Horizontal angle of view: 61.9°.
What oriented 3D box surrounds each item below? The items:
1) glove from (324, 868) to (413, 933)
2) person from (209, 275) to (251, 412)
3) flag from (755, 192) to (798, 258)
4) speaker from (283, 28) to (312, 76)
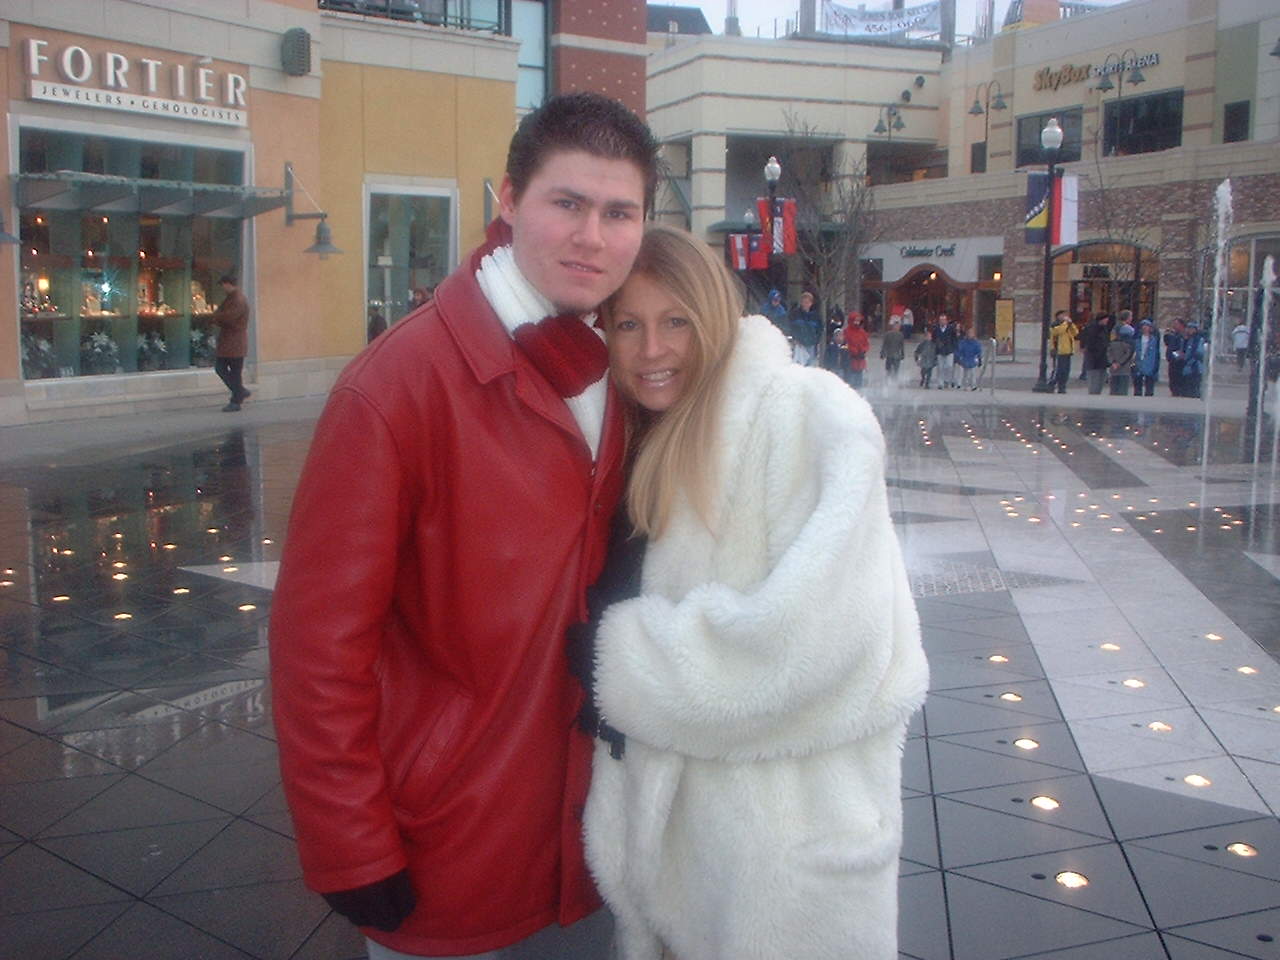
[{"bbox_3d":[-0.559,0.930,2.324,0.171,0.152,0.212,-6,-25,2],"label":"glove"},{"bbox_3d":[-6.515,-2.179,17.147,0.489,2.064,1.508,-4,11,-21],"label":"person"},{"bbox_3d":[3.699,-6.813,28.540,1.351,1.456,0.120,-8,8,-39],"label":"flag"},{"bbox_3d":[-5.761,-7.267,18.051,0.587,0.732,0.348,8,13,32],"label":"speaker"}]
